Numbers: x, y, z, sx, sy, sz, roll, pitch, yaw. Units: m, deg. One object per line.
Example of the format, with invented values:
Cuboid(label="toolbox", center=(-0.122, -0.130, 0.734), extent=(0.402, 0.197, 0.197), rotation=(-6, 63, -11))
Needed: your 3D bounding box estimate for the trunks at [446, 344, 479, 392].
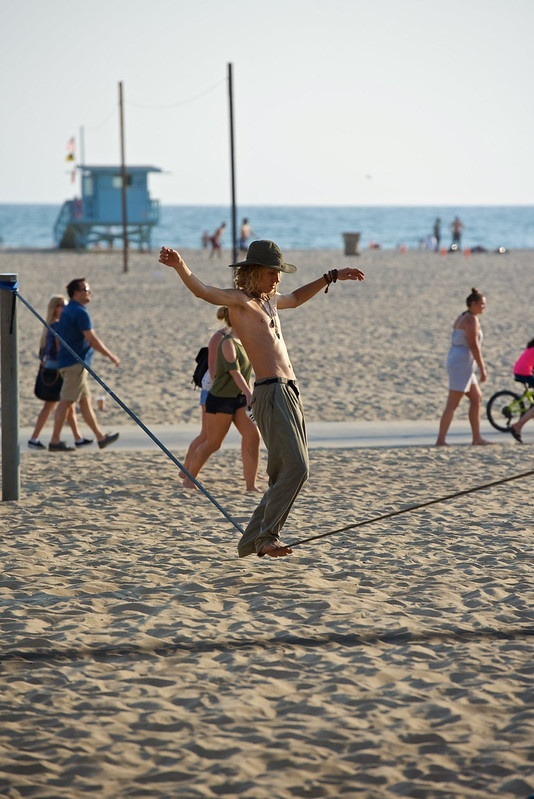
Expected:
Cuboid(label="trunks", center=(1.681, -0.266, 9.986), extent=(0.225, 0.395, 0.122), rotation=(5, 8, 15))

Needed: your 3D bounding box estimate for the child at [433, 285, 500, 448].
Cuboid(label="child", center=(1.752, -0.279, 10.112), extent=(0.403, 1.400, 0.491), rotation=(0, -3, 39))

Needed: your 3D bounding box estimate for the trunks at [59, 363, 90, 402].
Cuboid(label="trunks", center=(-1.563, -0.133, 9.269), extent=(0.222, 0.330, 0.199), rotation=(2, 8, -2))

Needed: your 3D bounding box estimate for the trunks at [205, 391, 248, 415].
Cuboid(label="trunks", center=(-0.263, 0.029, 7.643), extent=(0.228, 0.147, 0.156), rotation=(-2, 7, -36))

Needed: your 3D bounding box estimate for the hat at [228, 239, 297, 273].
Cuboid(label="hat", center=(-0.001, -0.674, 5.453), extent=(0.237, 0.100, 0.193), rotation=(11, 9, 15))

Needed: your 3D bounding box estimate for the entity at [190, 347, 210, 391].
Cuboid(label="entity", center=(-0.466, -0.233, 8.305), extent=(0.204, 0.264, 0.100), rotation=(-10, -11, 19))

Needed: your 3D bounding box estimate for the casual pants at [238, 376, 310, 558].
Cuboid(label="casual pants", center=(0.051, 0.349, 5.581), extent=(0.261, 0.922, 0.396), rotation=(-1, 8, -25))

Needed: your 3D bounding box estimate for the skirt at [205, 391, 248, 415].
Cuboid(label="skirt", center=(-0.262, 0.033, 7.637), extent=(0.228, 0.147, 0.156), rotation=(-2, 7, -36))
